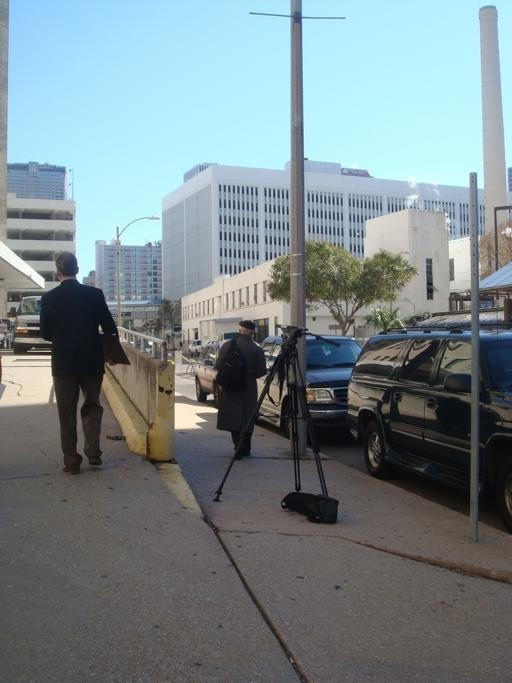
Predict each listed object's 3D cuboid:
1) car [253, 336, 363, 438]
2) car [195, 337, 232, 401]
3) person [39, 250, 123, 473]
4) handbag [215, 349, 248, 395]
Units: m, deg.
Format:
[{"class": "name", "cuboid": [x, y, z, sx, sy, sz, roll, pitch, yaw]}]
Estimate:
[{"class": "car", "cuboid": [0.968, 0.644, 10.814, 0.944, 1.295, 2.278, 0, -3, -12]}, {"class": "car", "cuboid": [-1.002, 0.688, 15.209, 0.831, 0.971, 1.678, -1, -2, -11]}, {"class": "person", "cuboid": [-1.540, 0.188, 5.685, 0.671, 1.810, 0.451, 3, 0, -23]}, {"class": "handbag", "cuboid": [-0.269, 0.350, 7.823, 0.404, 0.866, 0.384, 0, -3, 3]}]
